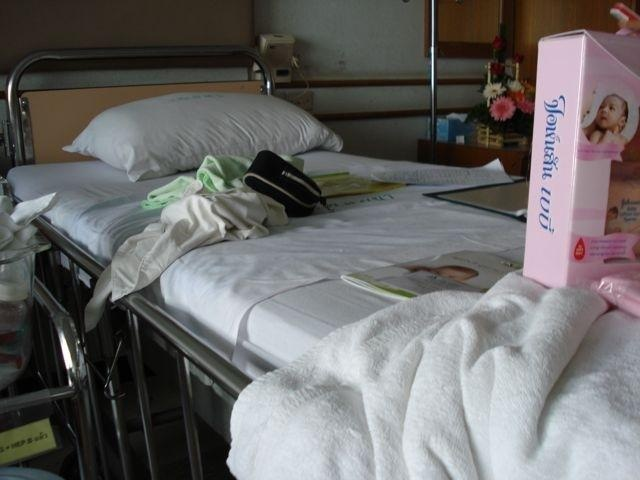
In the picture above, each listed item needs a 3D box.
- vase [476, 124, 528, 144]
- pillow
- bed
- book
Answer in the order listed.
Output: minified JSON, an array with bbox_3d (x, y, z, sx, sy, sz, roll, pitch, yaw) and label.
[{"bbox_3d":[1.038,-0.616,2.800,0.176,0.092,0.148,-12,27,-30],"label":"vase"},{"bbox_3d":[-0.426,-0.453,2.024,0.741,0.194,0.554,-10,28,-33],"label":"pillow"},{"bbox_3d":[-0.325,0.006,1.804,1.079,1.281,1.913,-14,33,-27],"label":"bed"},{"bbox_3d":[0.229,0.062,0.886,0.343,0.019,0.195,-10,18,-18],"label":"book"}]
